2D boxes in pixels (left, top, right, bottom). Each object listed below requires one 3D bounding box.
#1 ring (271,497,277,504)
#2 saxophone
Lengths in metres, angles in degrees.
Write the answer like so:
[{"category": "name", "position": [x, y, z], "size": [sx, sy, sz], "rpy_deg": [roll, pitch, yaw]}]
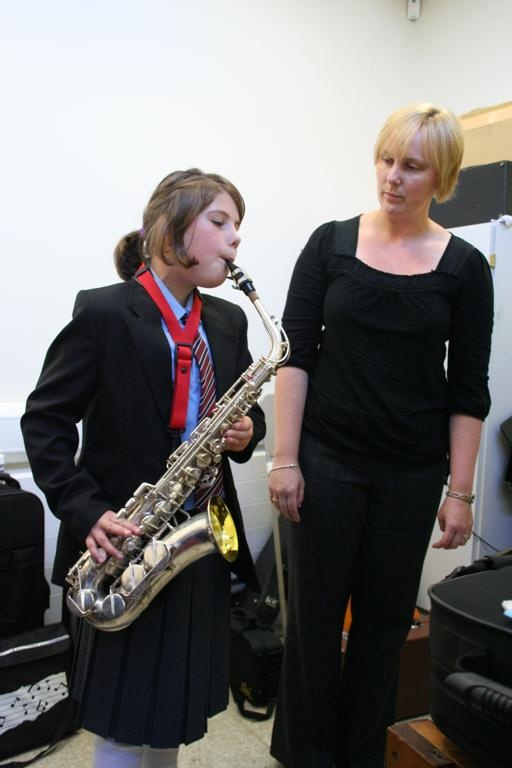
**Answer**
[{"category": "ring", "position": [0.037, 0.248, 1.317], "size": [0.004, 0.015, 0.011], "rpy_deg": [11, -30, -27]}, {"category": "saxophone", "position": [-0.112, 0.167, 1.125], "size": [0.268, 0.679, 0.168], "rpy_deg": [25, 12, -1]}]
